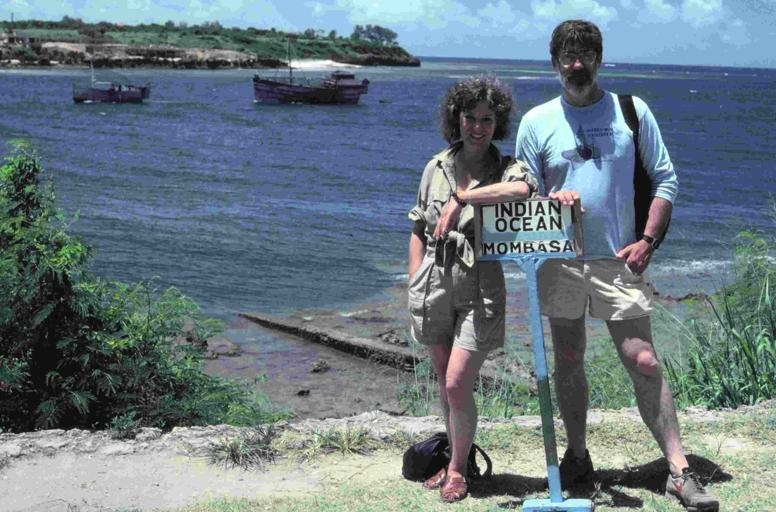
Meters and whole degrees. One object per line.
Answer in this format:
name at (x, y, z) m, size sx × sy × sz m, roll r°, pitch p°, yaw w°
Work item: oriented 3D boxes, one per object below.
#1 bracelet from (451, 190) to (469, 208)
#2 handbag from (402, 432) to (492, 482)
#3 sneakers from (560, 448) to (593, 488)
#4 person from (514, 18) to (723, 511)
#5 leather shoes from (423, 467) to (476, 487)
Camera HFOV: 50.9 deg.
bracelet at (0.563, -0.447, 6.486) m, size 0.124 × 0.047 × 0.095 m, roll 29°, pitch -11°, yaw 32°
handbag at (0.508, 1.725, 7.034) m, size 0.700 × 0.261 × 0.376 m, roll -17°, pitch 49°, yaw -21°
sneakers at (1.539, 1.730, 6.669) m, size 0.272 × 0.317 × 0.146 m, roll 0°, pitch 5°, yaw 5°
person at (1.790, -0.004, 6.642) m, size 1.165 × 3.764 × 1.569 m, roll -10°, pitch 16°, yaw -24°
leather shoes at (0.497, 1.865, 6.792) m, size 0.368 × 0.087 × 0.191 m, roll 3°, pitch -4°, yaw -33°
